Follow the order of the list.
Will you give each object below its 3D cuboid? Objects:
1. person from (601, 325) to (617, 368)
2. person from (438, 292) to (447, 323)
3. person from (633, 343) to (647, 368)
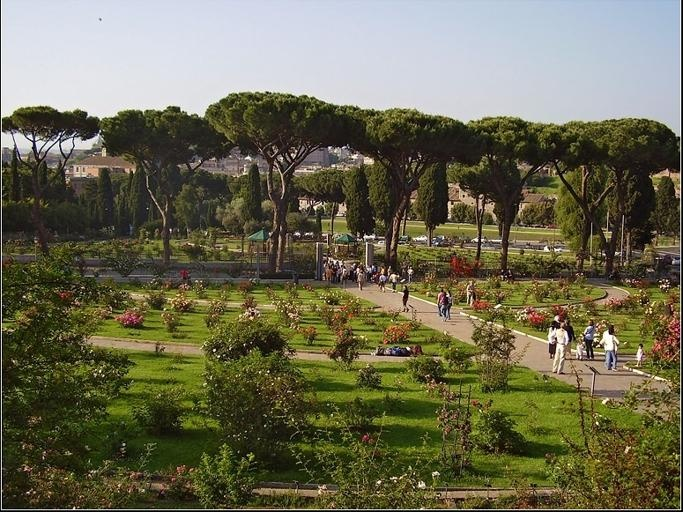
[{"bbox_3d":[8.479,2.857,36.502,0.424,1.422,1.048,1,2,13],"label":"person"},{"bbox_3d":[3.866,1.865,44.253,0.295,1.114,0.734,0,2,-7],"label":"person"},{"bbox_3d":[9.572,3.127,37.060,0.289,0.734,1.054,1,3,14],"label":"person"}]
